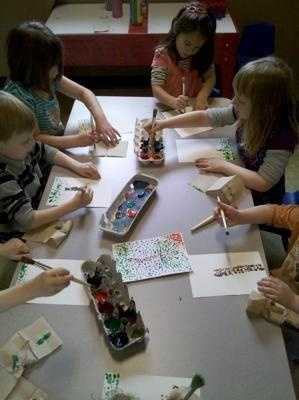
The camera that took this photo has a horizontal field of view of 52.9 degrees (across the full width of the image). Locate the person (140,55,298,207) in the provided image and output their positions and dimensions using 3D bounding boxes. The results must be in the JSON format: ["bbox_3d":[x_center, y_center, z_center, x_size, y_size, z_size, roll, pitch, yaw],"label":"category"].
[{"bbox_3d":[0.300,-0.315,1.382,0.549,0.990,0.371,-5,47,5],"label":"person"}]

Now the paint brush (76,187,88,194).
[{"bbox_3d":[-0.261,-0.036,1.131,0.031,0.014,0.031,-3,28,-2],"label":"paint brush"}]

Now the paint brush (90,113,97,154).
[{"bbox_3d":[-0.259,-0.315,1.407,0.039,0.176,0.030,-4,29,-11],"label":"paint brush"}]

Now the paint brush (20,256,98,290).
[{"bbox_3d":[-0.260,0.208,0.855,0.159,0.023,0.027,27,28,16],"label":"paint brush"}]
